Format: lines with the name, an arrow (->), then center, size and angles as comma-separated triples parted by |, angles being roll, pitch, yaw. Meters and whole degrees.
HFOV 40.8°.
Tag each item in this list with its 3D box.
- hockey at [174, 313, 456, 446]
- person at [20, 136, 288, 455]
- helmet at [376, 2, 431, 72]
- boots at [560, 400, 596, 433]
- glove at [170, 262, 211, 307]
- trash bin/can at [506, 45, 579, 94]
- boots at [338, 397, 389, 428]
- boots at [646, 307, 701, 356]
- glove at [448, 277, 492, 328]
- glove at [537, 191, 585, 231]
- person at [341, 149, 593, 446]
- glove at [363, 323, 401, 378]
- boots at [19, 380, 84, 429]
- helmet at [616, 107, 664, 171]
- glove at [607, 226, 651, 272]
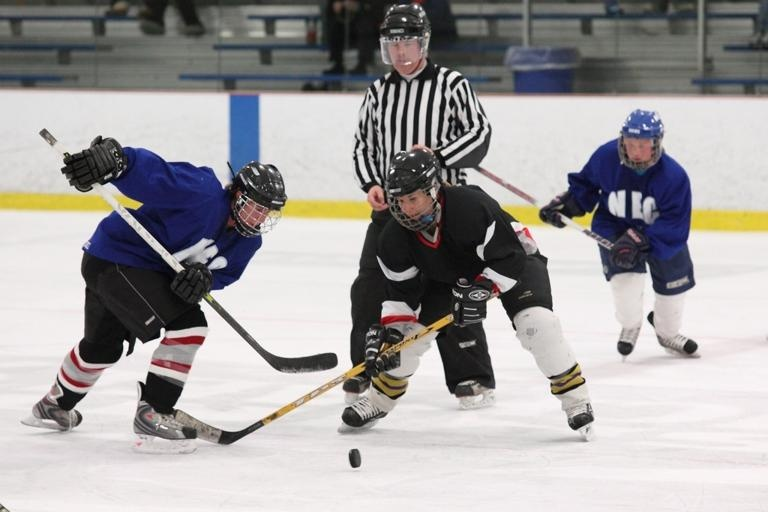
hockey -> -0.336, 0.643, 5.217 | 1.148, 0.126, 0.167 | -26, -12, -24
person -> -1.065, 0.157, 4.822 | 1.206, 1.426, 0.492 | -1, 15, -6
helmet -> 0.105, -1.131, 5.390 | 0.241, 0.354, 0.233 | 1, 14, 2
boots -> 0.943, 0.732, 4.965 | 0.115, 0.127, 0.329 | -26, 2, 14
glove -> -0.875, 0.125, 4.670 | 0.150, 0.200, 0.068 | 38, -3, -10
trash bin/can -> 1.578, -1.804, 10.376 | 0.656, 0.402, 0.607 | -2, 5, -18
boots -> -0.089, 0.760, 5.066 | 0.330, 0.116, 0.114 | -6, 20, -40
boots -> 1.634, 0.453, 6.072 | 0.399, 0.123, 0.155 | 32, -8, 37
glove -> 0.421, 0.219, 4.798 | 0.233, 0.200, 0.165 | 0, 4, 16
glove -> 1.019, -0.273, 6.101 | 0.246, 0.100, 0.237 | -31, 23, -15
person -> 0.373, 0.178, 4.888 | 1.143, 1.358, 0.360 | 1, 15, 2
glove -> -0.009, 0.437, 4.881 | 0.103, 0.212, 0.232 | 33, -26, -30
boots -> -1.580, 0.735, 4.992 | 0.317, 0.184, 0.102 | 12, -9, 5
helmet -> 1.436, -0.640, 5.806 | 0.251, 0.342, 0.204 | 3, 15, 11
glove -> 1.370, -0.051, 5.865 | 0.216, 0.069, 0.208 | 1, -27, -3
